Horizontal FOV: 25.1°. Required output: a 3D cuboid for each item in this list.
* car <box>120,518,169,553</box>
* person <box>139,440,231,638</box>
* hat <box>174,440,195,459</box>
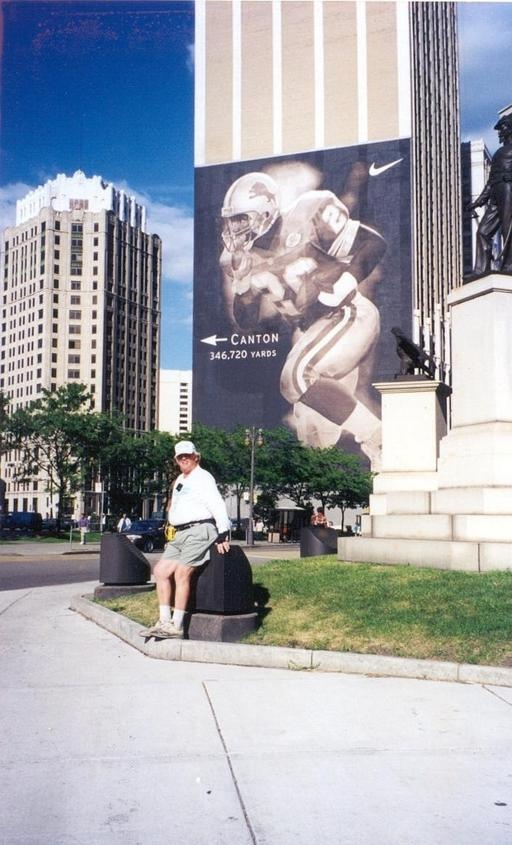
[{"bbox_3d":[-3.607,3.562,36.202,1.337,1.242,2.871,-2,-11,9],"label":"car"},{"bbox_3d":[-0.568,0.955,9.335,0.674,1.595,0.663,1,-1,-9],"label":"person"},{"bbox_3d":[-0.578,0.217,9.350,0.110,0.091,0.173,-9,-16,5],"label":"hat"}]
